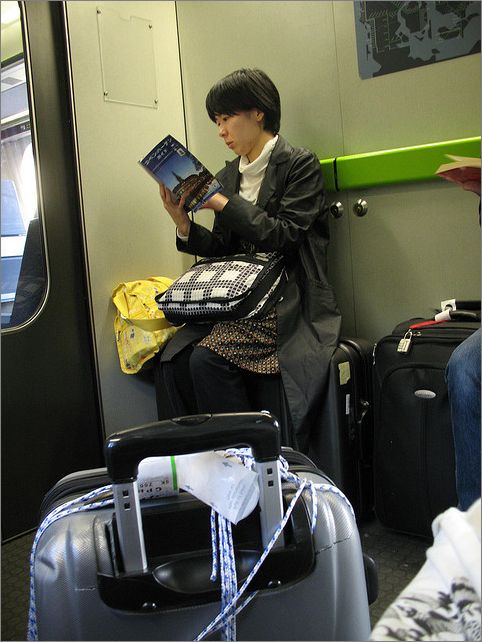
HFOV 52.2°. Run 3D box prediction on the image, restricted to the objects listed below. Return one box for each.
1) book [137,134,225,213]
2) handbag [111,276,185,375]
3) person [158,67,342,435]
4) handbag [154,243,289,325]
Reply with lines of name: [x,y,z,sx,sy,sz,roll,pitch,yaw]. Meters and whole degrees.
book: [-0.157,-0.441,1.426,0.170,0.257,0.059,-41,30,11]
handbag: [-0.345,0.028,1.905,0.288,0.308,0.120,-36,-18,5]
person: [0.028,-0.130,1.754,0.643,1.391,0.535,-5,13,-33]
handbag: [-0.024,-0.090,1.527,0.249,0.242,0.120,13,28,41]
